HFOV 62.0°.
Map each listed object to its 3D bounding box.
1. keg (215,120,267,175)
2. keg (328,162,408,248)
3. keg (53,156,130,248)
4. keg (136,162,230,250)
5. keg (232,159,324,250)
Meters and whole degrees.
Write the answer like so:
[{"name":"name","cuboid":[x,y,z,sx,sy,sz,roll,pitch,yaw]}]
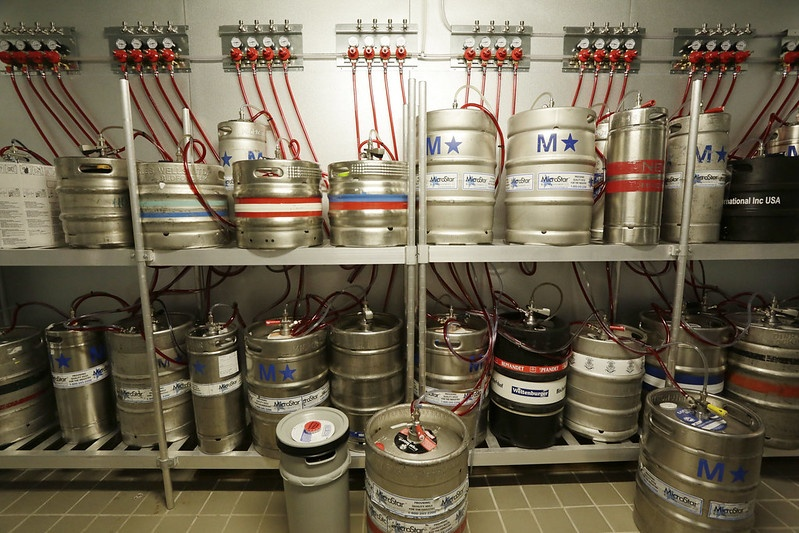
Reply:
[{"name":"keg","cuboid":[-0.860,-0.653,3.672,0.299,0.313,0.302,9,13,38]},{"name":"keg","cuboid":[-0.092,-0.316,3.395,0.440,0.439,0.423,0,6,3]},{"name":"keg","cuboid":[-1.515,-0.325,3.306,0.440,0.452,0.440,2,7,1]},{"name":"keg","cuboid":[-1.091,-0.313,3.301,0.449,0.425,0.415,-6,10,-34]},{"name":"keg","cuboid":[-0.591,-0.313,3.485,0.449,0.410,0.451,0,6,2]}]
